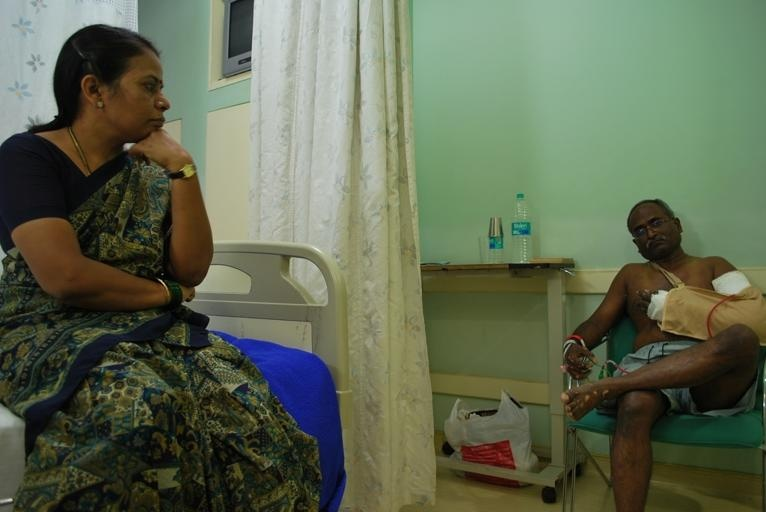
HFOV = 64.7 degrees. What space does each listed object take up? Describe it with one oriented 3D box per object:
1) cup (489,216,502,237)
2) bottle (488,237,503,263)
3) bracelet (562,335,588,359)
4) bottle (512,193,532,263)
[{"bbox_3d":[0.607,-0.152,3.277,0.093,0.097,0.089,-2,3,0],"label":"cup"},{"bbox_3d":[0.621,-0.037,3.334,0.085,0.139,0.128,-2,2,9],"label":"bottle"},{"bbox_3d":[0.826,0.371,2.615,0.104,0.096,0.098,-12,34,27],"label":"bracelet"},{"bbox_3d":[0.756,-0.163,3.304,0.110,0.381,0.145,-2,2,12],"label":"bottle"}]
